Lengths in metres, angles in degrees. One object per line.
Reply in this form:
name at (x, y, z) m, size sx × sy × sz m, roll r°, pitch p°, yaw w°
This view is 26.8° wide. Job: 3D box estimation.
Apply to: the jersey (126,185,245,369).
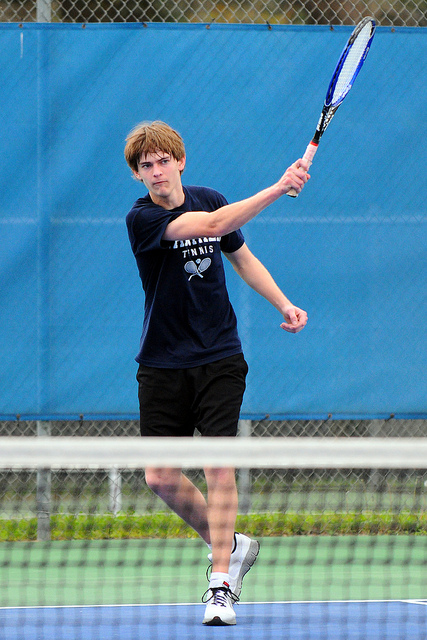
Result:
jersey at (-0.056, -0.158, 2.990) m, size 0.400 × 0.601 × 0.386 m, roll -10°, pitch 17°, yaw -44°
